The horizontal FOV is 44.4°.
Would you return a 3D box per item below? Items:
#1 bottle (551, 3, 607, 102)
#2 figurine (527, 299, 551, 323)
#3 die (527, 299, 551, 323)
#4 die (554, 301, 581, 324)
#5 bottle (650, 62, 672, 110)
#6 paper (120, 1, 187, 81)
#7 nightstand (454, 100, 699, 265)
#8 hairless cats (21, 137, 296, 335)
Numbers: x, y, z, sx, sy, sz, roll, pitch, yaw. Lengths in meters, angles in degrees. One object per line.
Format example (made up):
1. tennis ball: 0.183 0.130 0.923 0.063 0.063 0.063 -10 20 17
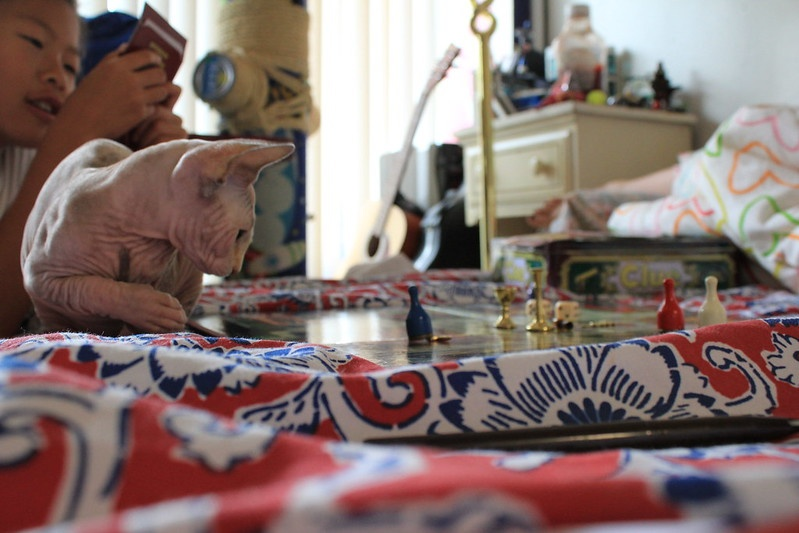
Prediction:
1. bottle: 0.612 -0.742 3.370 0.173 0.324 0.267 2 8 9
2. figurine: 0.277 0.084 1.925 0.044 0.045 0.044 -3 2 -29
3. die: 0.276 0.084 1.925 0.044 0.045 0.044 -3 2 -29
4. die: 0.322 0.087 1.880 0.039 0.040 0.041 -1 -3 -3
5. bottle: 0.937 -0.643 3.531 0.089 0.171 0.072 -2 6 17
6. paper: -0.462 -0.432 1.887 0.131 0.130 0.031 28 17 -42
7. nightstand: 0.587 -0.205 3.349 0.457 0.646 0.659 -10 7 -26
8. hairless cats: -0.411 -0.089 1.743 0.444 0.334 0.292 5 18 16
